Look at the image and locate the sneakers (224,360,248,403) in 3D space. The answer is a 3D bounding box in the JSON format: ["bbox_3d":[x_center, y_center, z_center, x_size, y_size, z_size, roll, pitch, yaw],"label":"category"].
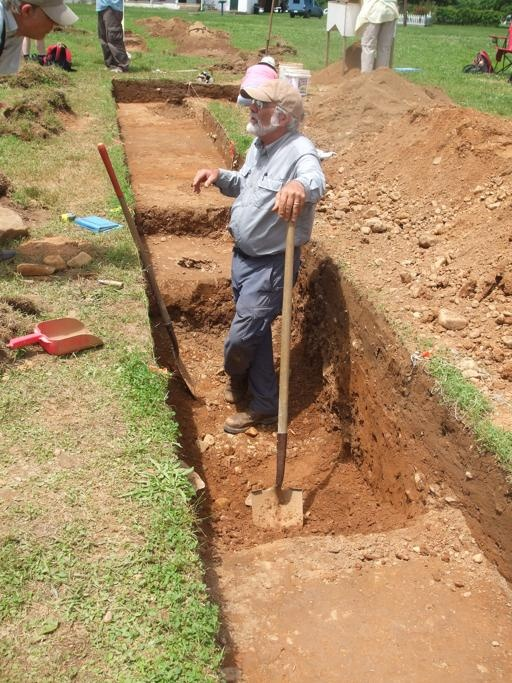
[{"bbox_3d":[-0.154,0.311,4.519,0.131,0.154,0.367,2,30,-2],"label":"sneakers"}]

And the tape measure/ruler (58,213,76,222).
[{"bbox_3d":[-1.585,-1.042,4.965,0.131,0.088,0.084,2,-12,-10],"label":"tape measure/ruler"}]

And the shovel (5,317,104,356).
[{"bbox_3d":[-1.124,-0.016,3.270,0.418,0.105,0.203,-16,40,-29],"label":"shovel"}]

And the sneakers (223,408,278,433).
[{"bbox_3d":[-0.058,0.583,4.306,0.441,0.200,0.144,-2,38,-12],"label":"sneakers"}]

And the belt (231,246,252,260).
[{"bbox_3d":[-0.114,-0.602,4.011,0.096,0.101,0.123,-5,-3,-43],"label":"belt"}]

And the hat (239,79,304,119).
[{"bbox_3d":[0.107,-1.440,3.503,0.351,0.241,0.251,-7,12,-2],"label":"hat"}]

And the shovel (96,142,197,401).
[{"bbox_3d":[-0.726,-0.398,4.185,0.371,1.812,0.960,-9,12,-6],"label":"shovel"}]
